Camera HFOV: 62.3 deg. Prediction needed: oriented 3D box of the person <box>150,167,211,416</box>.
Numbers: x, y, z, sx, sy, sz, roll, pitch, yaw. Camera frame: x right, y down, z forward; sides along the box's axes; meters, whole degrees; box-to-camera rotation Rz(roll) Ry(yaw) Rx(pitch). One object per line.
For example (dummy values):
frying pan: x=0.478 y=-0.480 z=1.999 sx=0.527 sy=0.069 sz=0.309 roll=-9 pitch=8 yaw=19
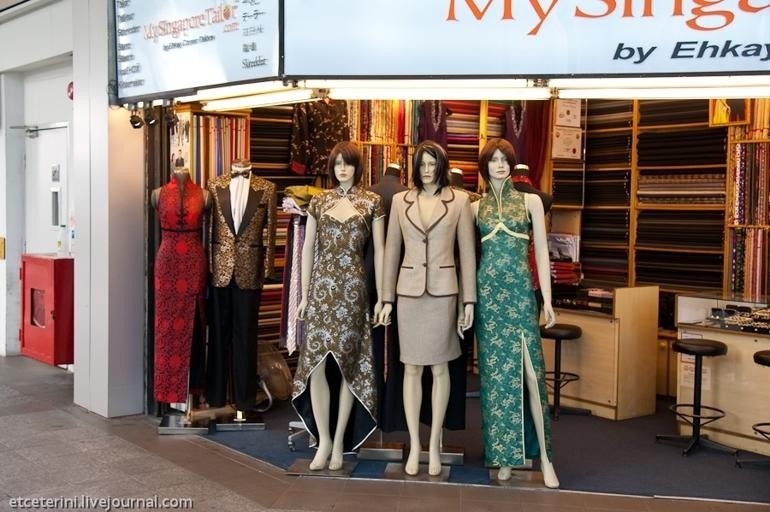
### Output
person: x=-1.870 y=0.255 z=5.838 sx=0.516 sy=2.098 sz=0.261 roll=-2 pitch=6 yaw=-20

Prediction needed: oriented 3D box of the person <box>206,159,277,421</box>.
person: x=-1.329 y=0.275 z=5.855 sx=0.652 sy=2.275 sz=0.219 roll=-1 pitch=6 yaw=-10
